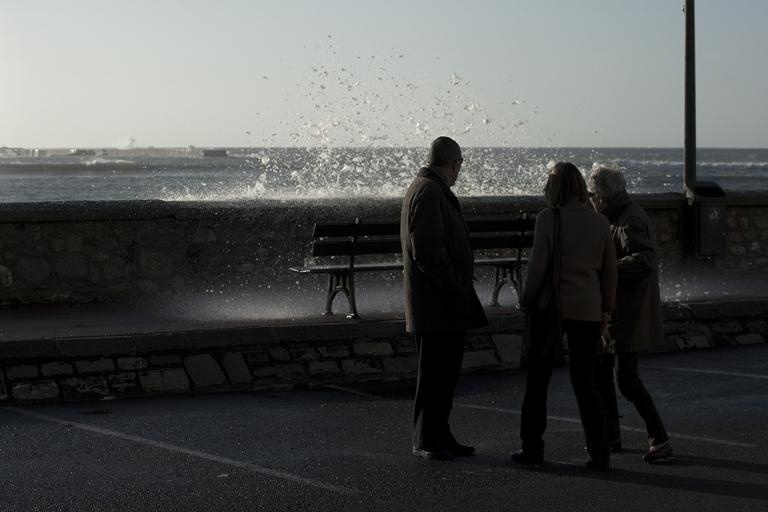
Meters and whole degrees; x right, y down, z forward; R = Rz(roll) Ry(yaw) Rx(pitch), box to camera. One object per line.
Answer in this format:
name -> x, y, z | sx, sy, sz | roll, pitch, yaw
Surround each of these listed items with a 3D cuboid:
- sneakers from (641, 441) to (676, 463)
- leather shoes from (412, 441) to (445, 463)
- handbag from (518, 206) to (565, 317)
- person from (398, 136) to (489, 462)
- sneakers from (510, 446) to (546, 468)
sneakers -> 2.013, 1.449, 5.807 | 0.279, 0.130, 0.101 | -5, 1, -37
leather shoes -> 0.326, 1.475, 5.889 | 0.231, 0.113, 0.093 | -1, 1, 31
handbag -> 1.154, 0.056, 5.782 | 0.302, 0.804, 0.211 | 1, 8, 10
person -> 0.433, 0.309, 5.956 | 0.604, 2.395, 0.504 | 0, 8, 1
sneakers -> 1.063, 1.455, 5.829 | 0.250, 0.186, 0.107 | 10, 12, 38
